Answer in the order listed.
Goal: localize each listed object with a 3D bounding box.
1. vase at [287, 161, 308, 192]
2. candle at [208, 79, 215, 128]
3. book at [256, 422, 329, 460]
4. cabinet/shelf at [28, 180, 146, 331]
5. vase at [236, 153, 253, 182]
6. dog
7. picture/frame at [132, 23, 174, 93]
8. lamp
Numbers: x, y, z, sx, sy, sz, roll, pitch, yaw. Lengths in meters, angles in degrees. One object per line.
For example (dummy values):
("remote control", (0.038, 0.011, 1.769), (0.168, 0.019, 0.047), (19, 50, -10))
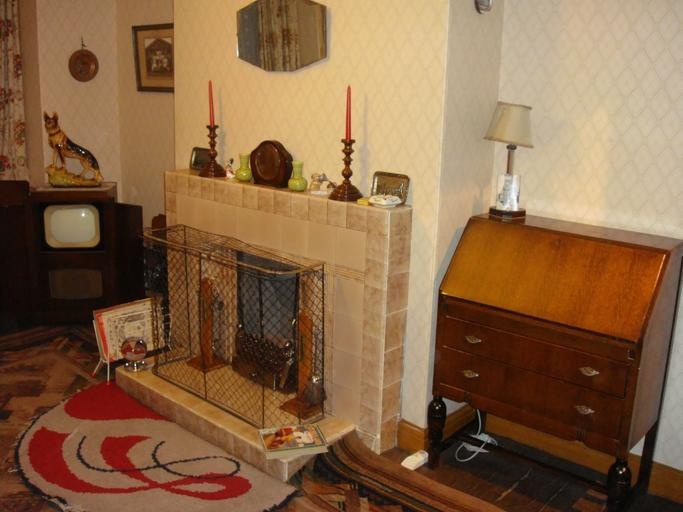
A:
("vase", (-0.301, -0.540, 3.898), (0.130, 0.197, 0.114), (2, 14, -8))
("candle", (-0.982, -1.149, 4.292), (0.058, 0.330, 0.334), (0, 15, -13))
("book", (-0.308, 1.168, 3.549), (0.386, 0.154, 0.244), (-1, 16, -20))
("cabinet/shelf", (-2.356, 0.011, 5.196), (1.128, 1.244, 0.723), (-1, 12, -9))
("vase", (-0.721, -0.642, 4.154), (0.130, 0.197, 0.105), (5, 14, 5))
("dog", (-2.552, -1.019, 5.423), (0.457, 0.646, 0.574), (-2, 16, -24))
("picture/frame", (-1.734, -1.842, 5.260), (0.528, 0.582, 0.037), (18, 23, 30))
("lamp", (1.046, -0.600, 3.563), (0.284, 0.678, 0.387), (10, 15, 24))
